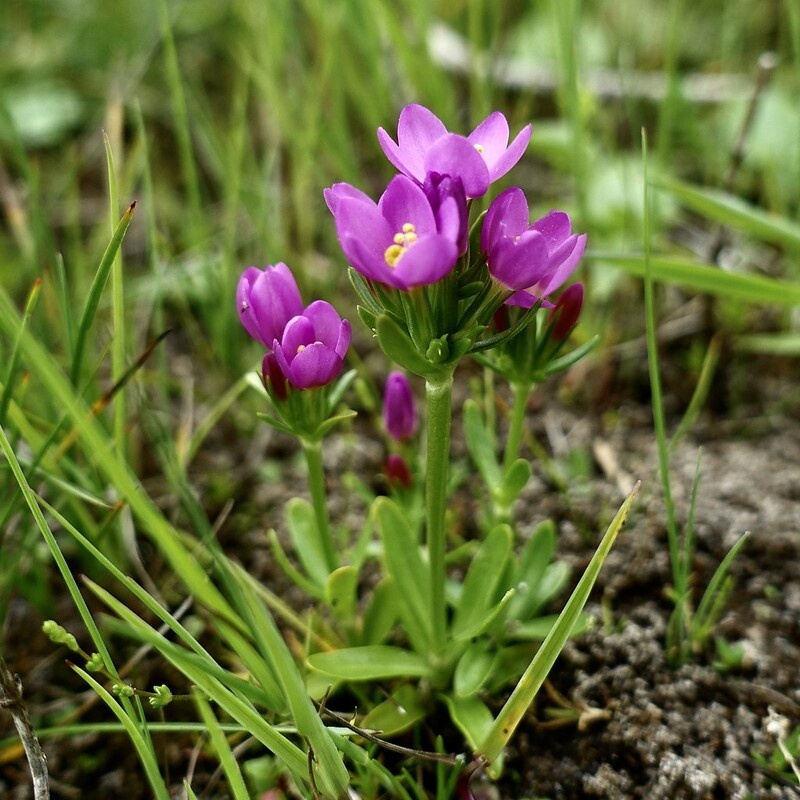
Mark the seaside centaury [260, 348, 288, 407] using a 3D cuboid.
[{"bbox_3d":[-0.158,-0.025,1.038,0.028,0.073,0.029,27,43,32],"label":"seaside centaury"}]

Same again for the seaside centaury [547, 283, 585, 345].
[{"bbox_3d":[0.224,-0.116,1.109,0.031,0.110,0.031,21,42,4],"label":"seaside centaury"}]

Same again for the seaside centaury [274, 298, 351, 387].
[{"bbox_3d":[-0.104,-0.061,1.081,0.082,0.107,0.107,-2,33,1],"label":"seaside centaury"}]

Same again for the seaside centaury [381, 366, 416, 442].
[{"bbox_3d":[0.002,0.003,1.355,0.055,0.142,0.042,1,35,0],"label":"seaside centaury"}]

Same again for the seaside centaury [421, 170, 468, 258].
[{"bbox_3d":[0.051,-0.197,0.921,0.050,0.091,0.082,2,37,1],"label":"seaside centaury"}]
